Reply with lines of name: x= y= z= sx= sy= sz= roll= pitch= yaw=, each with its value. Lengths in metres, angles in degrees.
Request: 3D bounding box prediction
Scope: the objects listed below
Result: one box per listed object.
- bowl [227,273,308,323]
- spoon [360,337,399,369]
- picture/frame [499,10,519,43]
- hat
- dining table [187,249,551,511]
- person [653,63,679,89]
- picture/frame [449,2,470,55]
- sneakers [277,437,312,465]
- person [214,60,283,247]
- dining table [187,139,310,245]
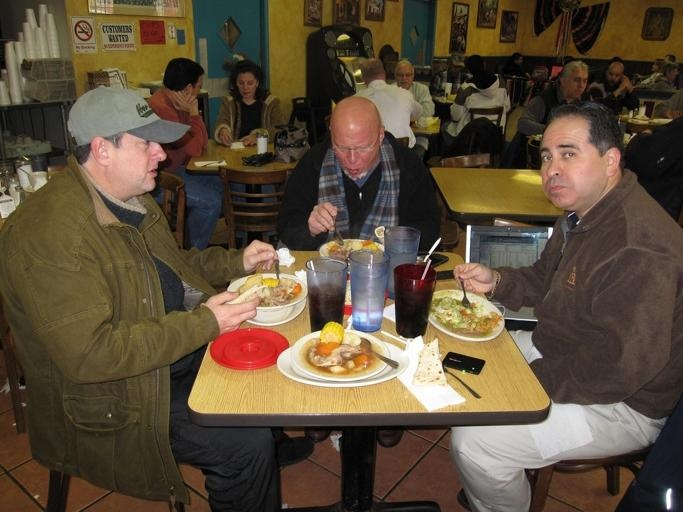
bowl: x=-0.267 y=0.135 z=2.011 sx=0.203 sy=0.088 sz=0.207 roll=5 pitch=32 yaw=-3
spoon: x=0.112 y=0.306 z=1.748 sx=0.047 sy=0.030 sz=0.219 roll=-10 pitch=31 yaw=-26
picture/frame: x=4.102 y=-5.598 z=13.218 sx=0.192 sy=0.730 sz=1.155 roll=13 pitch=24 yaw=26
hat: x=-0.785 y=-0.506 z=1.989 sx=0.343 sy=0.166 sz=0.218 roll=-7 pitch=26 yaw=-16
dining table: x=0.096 y=0.535 z=2.031 sx=0.711 sy=0.689 sz=0.708 roll=0 pitch=30 yaw=-1
person: x=5.416 y=-2.992 z=8.986 sx=0.319 sy=0.397 sz=1.006 roll=14 pitch=24 yaw=28
picture/frame: x=2.397 y=-4.694 z=11.064 sx=0.071 sy=0.954 sz=0.840 roll=10 pitch=26 yaw=29
sneakers: x=-0.225 y=0.949 z=2.636 sx=0.181 sy=0.048 sz=0.133 roll=-3 pitch=33 yaw=-14
person: x=-0.983 y=-1.088 z=5.708 sx=0.699 sy=1.889 sz=0.652 roll=0 pitch=40 yaw=-9
dining table: x=-0.703 y=-0.574 z=4.265 sx=0.915 sy=0.862 sz=0.879 roll=4 pitch=38 yaw=0
